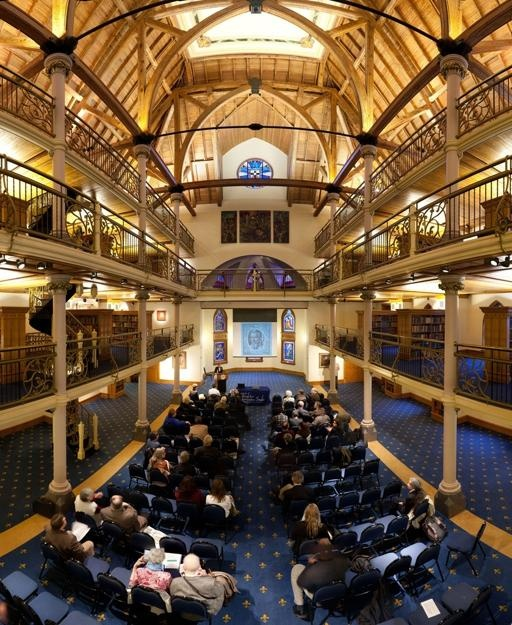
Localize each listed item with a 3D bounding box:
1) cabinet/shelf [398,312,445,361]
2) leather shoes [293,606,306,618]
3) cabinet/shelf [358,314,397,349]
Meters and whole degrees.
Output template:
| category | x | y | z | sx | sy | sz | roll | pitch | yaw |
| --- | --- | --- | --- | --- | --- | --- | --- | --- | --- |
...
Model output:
| category | x | y | z | sx | sy | sz | roll | pitch | yaw |
| --- | --- | --- | --- | --- | --- | --- | --- | --- | --- |
| cabinet/shelf | 5.299 | 0.716 | 14.162 | 1.590 | 1.333 | 0.556 | 0 | -1 | -26 |
| leather shoes | 0.609 | 4.352 | 6.349 | 0.212 | 0.115 | 0.128 | 0 | -1 | 29 |
| cabinet/shelf | 4.244 | 0.642 | 15.309 | 1.371 | 1.182 | 0.445 | 1 | -4 | -7 |
